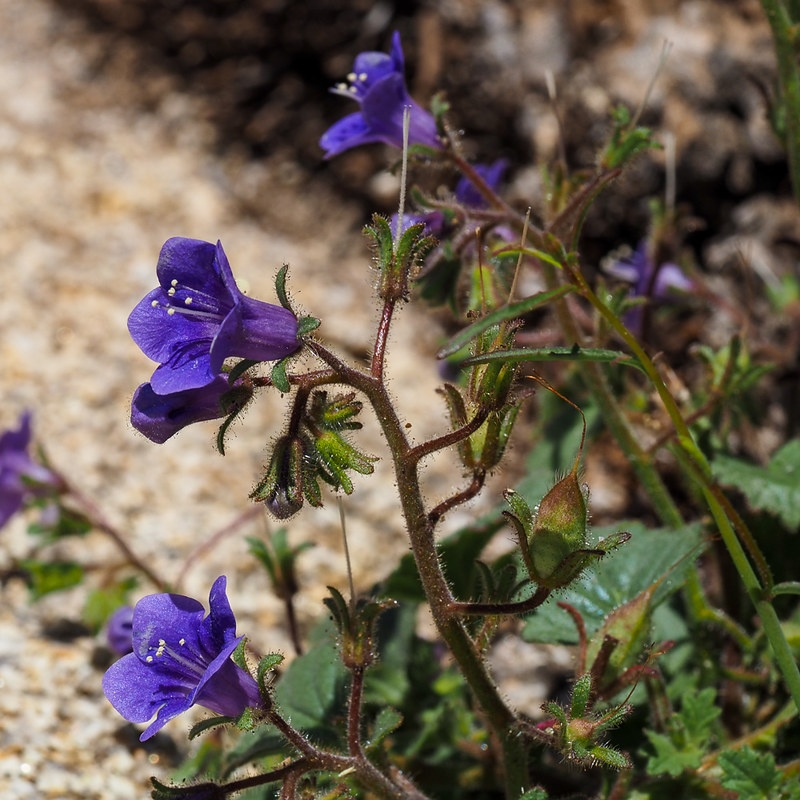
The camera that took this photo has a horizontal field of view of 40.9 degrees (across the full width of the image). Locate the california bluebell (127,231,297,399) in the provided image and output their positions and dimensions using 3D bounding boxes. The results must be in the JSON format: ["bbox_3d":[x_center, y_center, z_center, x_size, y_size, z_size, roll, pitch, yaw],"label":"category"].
[{"bbox_3d":[-0.509,-0.223,3.799,0.535,0.324,0.734,14,-10,-39],"label":"california bluebell"}]

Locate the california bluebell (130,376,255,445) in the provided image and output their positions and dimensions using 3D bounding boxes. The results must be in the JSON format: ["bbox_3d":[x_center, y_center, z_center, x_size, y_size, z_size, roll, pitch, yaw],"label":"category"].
[{"bbox_3d":[-0.764,0.028,3.789,0.438,0.170,0.209,-16,28,-2],"label":"california bluebell"}]

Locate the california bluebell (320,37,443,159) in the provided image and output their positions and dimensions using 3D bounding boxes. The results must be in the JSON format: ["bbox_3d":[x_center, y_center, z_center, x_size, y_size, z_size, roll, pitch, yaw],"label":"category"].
[{"bbox_3d":[-0.058,-1.281,4.425,0.488,0.474,0.550,5,28,-1],"label":"california bluebell"}]
